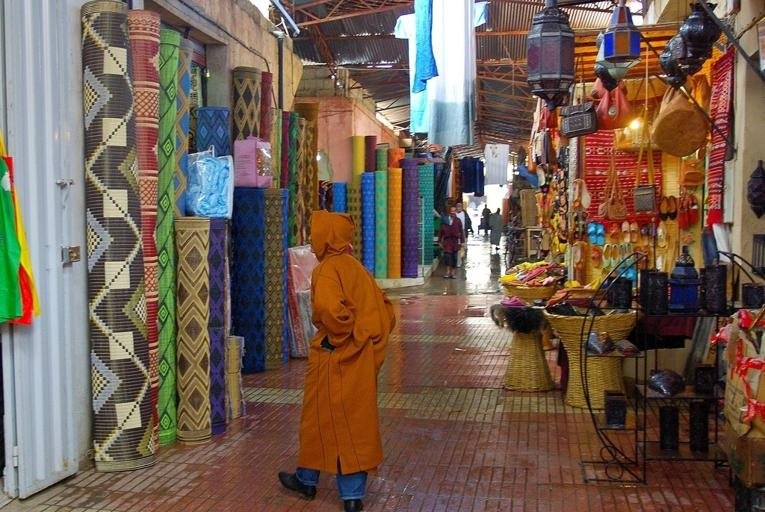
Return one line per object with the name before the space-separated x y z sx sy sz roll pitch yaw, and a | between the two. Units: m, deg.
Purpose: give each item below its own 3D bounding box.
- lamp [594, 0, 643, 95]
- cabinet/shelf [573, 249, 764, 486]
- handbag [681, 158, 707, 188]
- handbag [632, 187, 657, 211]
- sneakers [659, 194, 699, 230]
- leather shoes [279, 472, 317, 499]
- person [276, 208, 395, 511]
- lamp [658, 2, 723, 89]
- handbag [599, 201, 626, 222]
lamp | 1.944 -1.727 7.293 0.359 0.678 0.548 2 9 13
cabinet/shelf | 2.121 0.875 6.516 1.595 1.645 0.537 0 0 6
handbag | 2.891 -0.748 8.209 0.192 0.265 0.096 3 -14 18
handbag | 2.507 -0.524 8.471 0.217 0.282 0.218 0 -5 8
sneakers | 2.934 -0.434 8.682 0.119 0.365 0.266 -17 18 -40
leather shoes | -0.600 1.599 6.213 0.324 0.141 0.117 22 12 36
person | -0.293 0.711 5.985 0.695 1.965 0.526 -1 9 0
lamp | 2.454 -1.667 7.072 0.343 0.650 0.398 -4 9 -19
handbag | 2.323 -0.439 8.905 0.228 0.236 0.168 -1 4 2
